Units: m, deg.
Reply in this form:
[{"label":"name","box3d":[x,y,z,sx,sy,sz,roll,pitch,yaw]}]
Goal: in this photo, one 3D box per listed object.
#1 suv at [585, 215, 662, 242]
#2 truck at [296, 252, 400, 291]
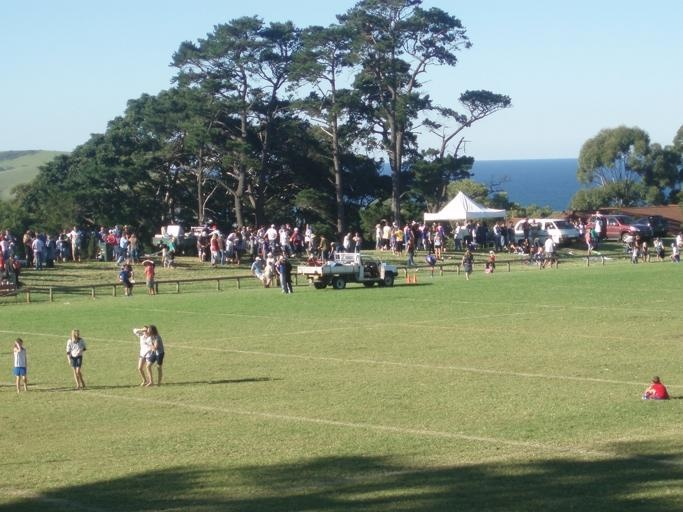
[{"label":"suv","box3d":[18.791,-1.613,84.259,4.446,1.914,2.082,0,3,41]},{"label":"truck","box3d":[0.302,0.792,62.739,4.547,1.744,1.451,-5,9,-19]}]
